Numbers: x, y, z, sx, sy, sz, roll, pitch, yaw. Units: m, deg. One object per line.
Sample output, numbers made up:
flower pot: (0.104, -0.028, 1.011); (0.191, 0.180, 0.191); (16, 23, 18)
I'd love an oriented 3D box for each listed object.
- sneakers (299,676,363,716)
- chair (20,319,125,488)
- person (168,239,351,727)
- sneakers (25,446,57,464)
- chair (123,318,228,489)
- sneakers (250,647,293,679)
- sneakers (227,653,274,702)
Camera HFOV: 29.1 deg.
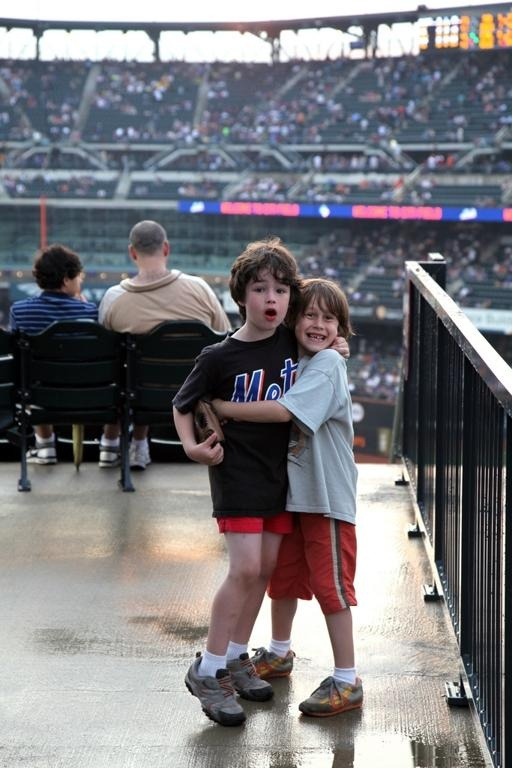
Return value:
sneakers: (0.168, 0.720, 2.275); (0.169, 0.064, 0.062); (1, -9, -32)
chair: (-0.848, 0.081, 4.219); (0.532, 0.621, 0.479); (-1, -9, -35)
person: (-0.040, 0.204, 2.283); (0.330, 1.061, 0.451); (5, 11, 19)
sneakers: (-1.007, 0.334, 4.622); (0.074, 0.093, 0.158); (-3, 11, -36)
chair: (-0.358, 0.040, 4.307); (0.489, 0.537, 0.429); (1, -5, -9)
sneakers: (0.033, 0.691, 2.414); (0.131, 0.048, 0.049); (9, -9, -24)
sneakers: (-0.022, 0.693, 2.327); (0.162, 0.088, 0.059); (4, 4, 44)
